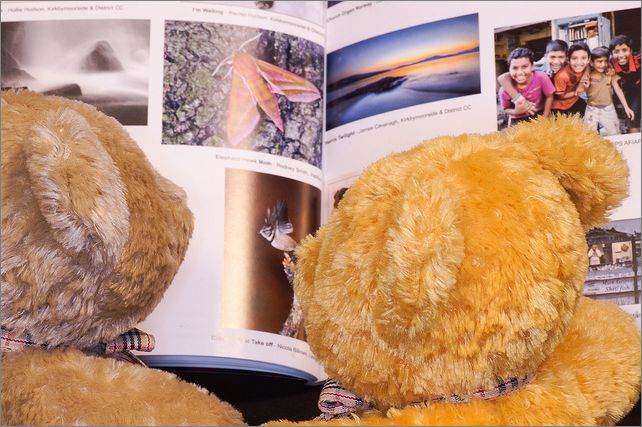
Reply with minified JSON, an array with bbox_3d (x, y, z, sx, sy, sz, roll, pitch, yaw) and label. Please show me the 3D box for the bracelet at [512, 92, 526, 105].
[{"bbox_3d":[0.411,-0.237,1.650,0.023,0.016,0.022,-31,2,-37],"label":"bracelet"}]
